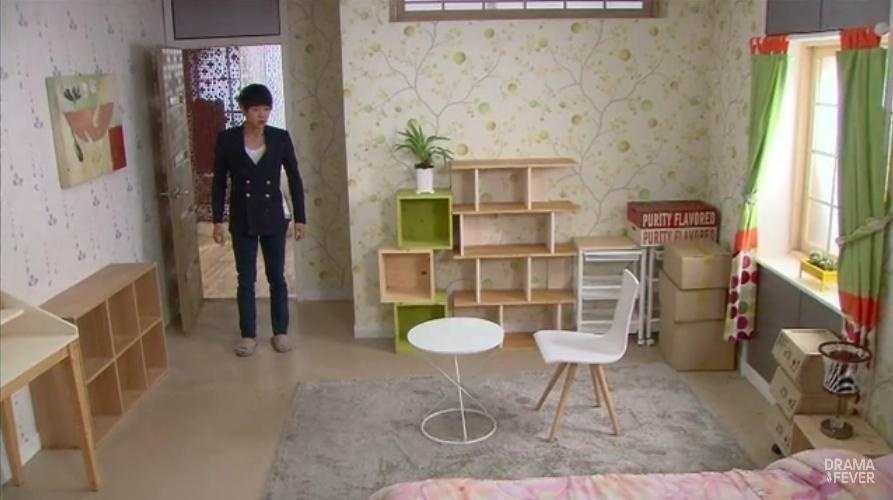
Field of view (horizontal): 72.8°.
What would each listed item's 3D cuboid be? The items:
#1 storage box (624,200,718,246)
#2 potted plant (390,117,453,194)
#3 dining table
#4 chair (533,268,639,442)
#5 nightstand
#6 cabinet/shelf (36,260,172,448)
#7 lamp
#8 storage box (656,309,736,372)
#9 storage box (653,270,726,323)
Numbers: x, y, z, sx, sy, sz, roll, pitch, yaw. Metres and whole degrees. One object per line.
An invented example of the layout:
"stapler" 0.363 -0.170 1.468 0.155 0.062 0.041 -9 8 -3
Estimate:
"storage box" 2.202 -0.247 5.870 0.787 0.382 0.444 -2 16 -4
"potted plant" -0.198 -0.902 5.875 0.446 0.667 0.407 -15 22 -38
"dining table" 0.086 1.084 4.892 0.793 0.729 0.744 -5 8 -25
"chair" 1.090 0.825 4.860 0.833 1.141 0.762 -1 11 12
"nightstand" 2.710 1.224 4.151 0.360 0.213 0.350 -1 13 3
"cabinet/shelf" -2.796 0.855 4.870 0.432 1.055 1.236 2 18 1
"lamp" 2.727 0.939 4.216 0.304 0.639 0.409 11 21 35
"storage box" 2.279 0.871 5.808 0.837 0.457 0.859 1 0 44
"storage box" 2.234 0.408 5.594 0.470 0.268 0.441 0 15 2
